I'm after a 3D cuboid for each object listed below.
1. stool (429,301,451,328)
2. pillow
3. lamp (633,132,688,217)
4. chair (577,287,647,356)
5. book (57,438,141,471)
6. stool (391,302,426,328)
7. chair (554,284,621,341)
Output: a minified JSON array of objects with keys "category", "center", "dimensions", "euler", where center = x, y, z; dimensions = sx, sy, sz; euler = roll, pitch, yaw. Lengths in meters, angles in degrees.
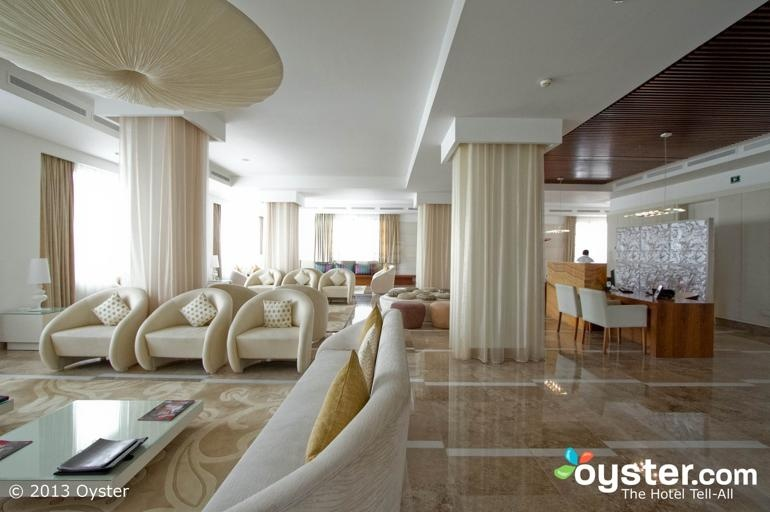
[{"category":"stool","center":[1.027,1.090,8.826],"dimensions":[0.433,0.370,0.436],"euler":[-1,-4,26]},{"category":"pillow","center":[-0.402,1.141,4.308],"dimensions":[0.233,0.297,1.102],"euler":[12,19,11]},{"category":"lamp","center":[5.570,-1.655,9.432],"dimensions":[1.120,1.528,0.977],"euler":[-4,6,-21]},{"category":"chair","center":[3.635,0.849,7.679],"dimensions":[0.857,1.205,1.494],"euler":[-1,-2,4]},{"category":"book","center":[-2.540,1.755,4.160],"dimensions":[0.287,0.070,0.311],"euler":[1,1,25]},{"category":"stool","center":[0.475,1.051,8.783],"dimensions":[0.669,0.463,0.659],"euler":[0,-6,-3]},{"category":"chair","center":[3.486,0.917,8.408],"dimensions":[0.925,1.093,0.811],"euler":[0,0,0]}]
